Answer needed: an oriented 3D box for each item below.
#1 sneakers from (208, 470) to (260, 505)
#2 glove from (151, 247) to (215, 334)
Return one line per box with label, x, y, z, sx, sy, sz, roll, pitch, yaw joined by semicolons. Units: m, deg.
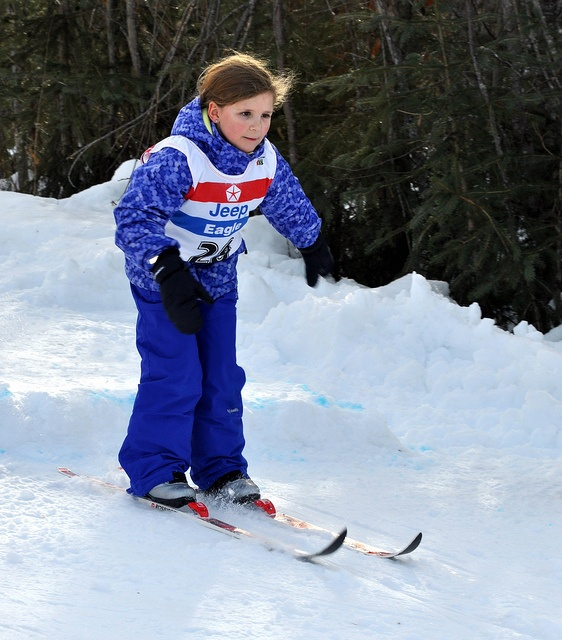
sneakers;-0.165;0.612;2.757;0.196;0.060;0.091;-2;6;26
glove;-0.315;-0.090;2.450;0.157;0.274;0.187;-34;-13;17
